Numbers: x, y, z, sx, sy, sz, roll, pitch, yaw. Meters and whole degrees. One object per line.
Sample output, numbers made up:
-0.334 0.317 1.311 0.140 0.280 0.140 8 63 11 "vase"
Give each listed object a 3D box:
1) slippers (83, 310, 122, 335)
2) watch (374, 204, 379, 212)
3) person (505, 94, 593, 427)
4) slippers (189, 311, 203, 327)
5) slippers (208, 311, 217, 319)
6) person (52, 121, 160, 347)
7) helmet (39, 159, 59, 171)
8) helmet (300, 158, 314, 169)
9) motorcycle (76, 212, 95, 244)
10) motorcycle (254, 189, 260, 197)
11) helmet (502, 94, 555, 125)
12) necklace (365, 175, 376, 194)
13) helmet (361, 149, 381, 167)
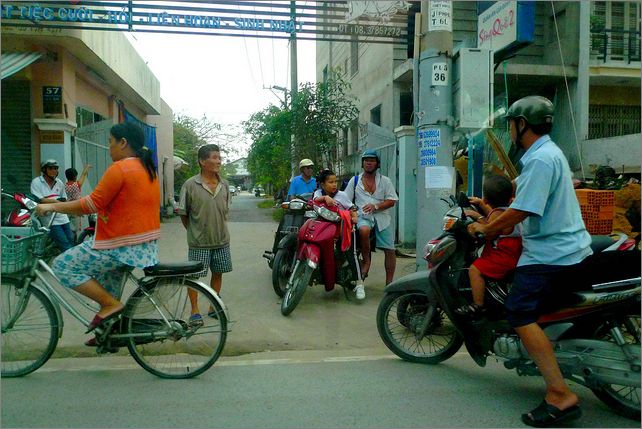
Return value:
-2.547 1.233 7.188 0.497 0.137 0.197 -35 8 -4 "slippers"
0.863 -0.116 9.597 0.058 0.095 0.087 0 6 5 "watch"
2.434 0.489 6.635 0.798 3.549 0.676 0 7 22 "person"
-1.486 1.253 7.312 0.167 0.158 0.111 6 -5 -12 "slippers"
-1.277 1.175 7.196 0.070 0.066 0.099 31 16 32 "slippers"
-2.490 0.231 7.259 1.150 2.640 0.452 -4 7 -17 "person"
-4.877 -0.899 10.989 0.263 0.217 0.206 -2 -2 39 "helmet"
-0.266 -0.916 10.935 0.155 0.167 0.215 -2 5 -17 "helmet"
-4.289 0.244 11.105 0.184 0.447 0.510 21 1 14 "motorcycle"
-6.079 -1.997 57.454 0.394 0.531 0.834 -1 -1 4 "motorcycle"
2.320 -1.176 6.792 0.411 0.225 0.313 11 14 31 "helmet"
0.784 -0.494 9.922 0.184 0.275 0.081 -2 -10 8 "necklace"
0.794 -0.876 9.785 0.326 0.273 0.289 -5 7 -21 "helmet"
